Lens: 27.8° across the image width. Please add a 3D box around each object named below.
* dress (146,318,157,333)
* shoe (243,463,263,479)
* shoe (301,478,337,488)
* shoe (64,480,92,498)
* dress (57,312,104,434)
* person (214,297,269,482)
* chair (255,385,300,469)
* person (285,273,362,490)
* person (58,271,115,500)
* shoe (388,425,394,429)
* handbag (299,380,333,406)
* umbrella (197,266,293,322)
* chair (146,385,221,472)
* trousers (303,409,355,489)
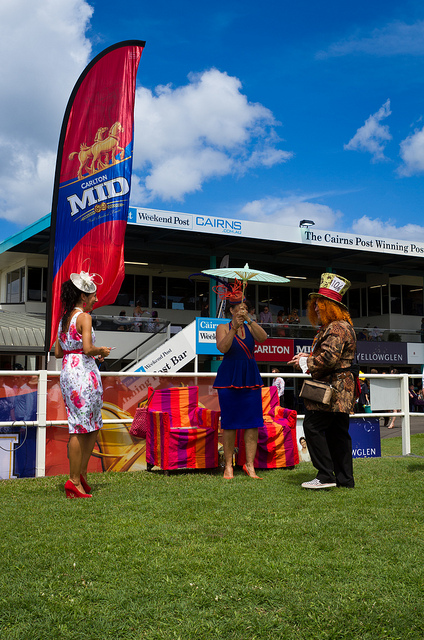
[{"bbox_3d":[-1.578,0.136,22.299,0.372,0.487,0.049,2,-1,-27],"label":"dress"},{"bbox_3d":[0.332,1.200,6.747,0.162,0.065,0.054,43,-1,0],"label":"shoe"},{"bbox_3d":[0.751,1.146,5.958,0.217,0.082,0.079,4,-21,-5],"label":"shoe"},{"bbox_3d":[-0.843,1.110,5.608,0.215,0.141,0.074,4,-4,-23],"label":"shoe"},{"bbox_3d":[-0.872,0.348,5.691,0.306,0.720,0.305,1,-1,-10],"label":"dress"},{"bbox_3d":[0.224,0.526,6.697,0.392,1.162,0.676,1,-1,3],"label":"person"},{"bbox_3d":[0.502,0.915,7.623,0.516,0.641,0.572,-1,-4,-15],"label":"chair"},{"bbox_3d":[0.835,0.430,6.159,0.490,1.179,0.509,1,-1,6],"label":"person"},{"bbox_3d":[-0.853,0.420,5.692,0.332,1.352,0.465,2,-1,-14],"label":"person"},{"bbox_3d":[1.939,1.135,9.181,0.045,0.030,0.115,3,5,9],"label":"shoe"},{"bbox_3d":[0.736,0.506,5.999,0.240,0.162,0.146,8,-23,40],"label":"handbag"},{"bbox_3d":[0.812,-0.646,21.937,1.862,1.583,1.843,4,-12,6],"label":"umbrella"},{"bbox_3d":[-0.230,0.914,7.244,0.626,0.679,0.577,0,-3,-9],"label":"chair"},{"bbox_3d":[0.853,0.904,6.152,0.378,0.424,0.363,1,-1,6],"label":"trousers"}]
